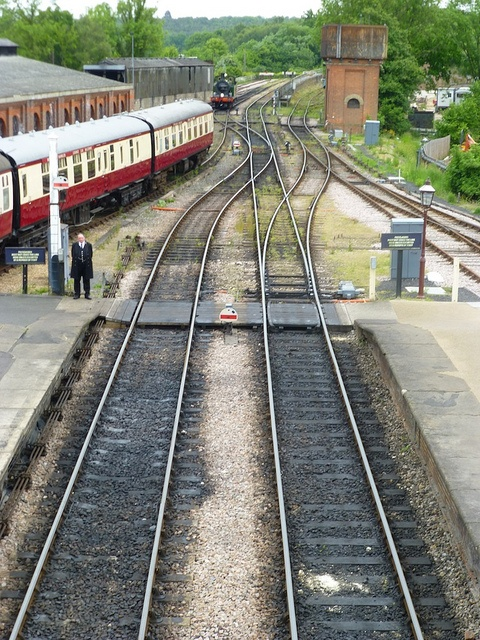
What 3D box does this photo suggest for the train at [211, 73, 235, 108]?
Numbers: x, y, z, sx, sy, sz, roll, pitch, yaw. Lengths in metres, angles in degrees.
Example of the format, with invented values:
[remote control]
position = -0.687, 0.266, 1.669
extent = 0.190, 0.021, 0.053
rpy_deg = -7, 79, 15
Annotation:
[train]
position = -1.874, -25.777, 68.758
extent = 2.332, 3.899, 2.851
rpy_deg = -1, 14, -1

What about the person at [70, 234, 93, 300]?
[person]
position = -3.771, -1.299, 14.588
extent = 0.499, 1.573, 0.797
rpy_deg = -5, 15, -16
